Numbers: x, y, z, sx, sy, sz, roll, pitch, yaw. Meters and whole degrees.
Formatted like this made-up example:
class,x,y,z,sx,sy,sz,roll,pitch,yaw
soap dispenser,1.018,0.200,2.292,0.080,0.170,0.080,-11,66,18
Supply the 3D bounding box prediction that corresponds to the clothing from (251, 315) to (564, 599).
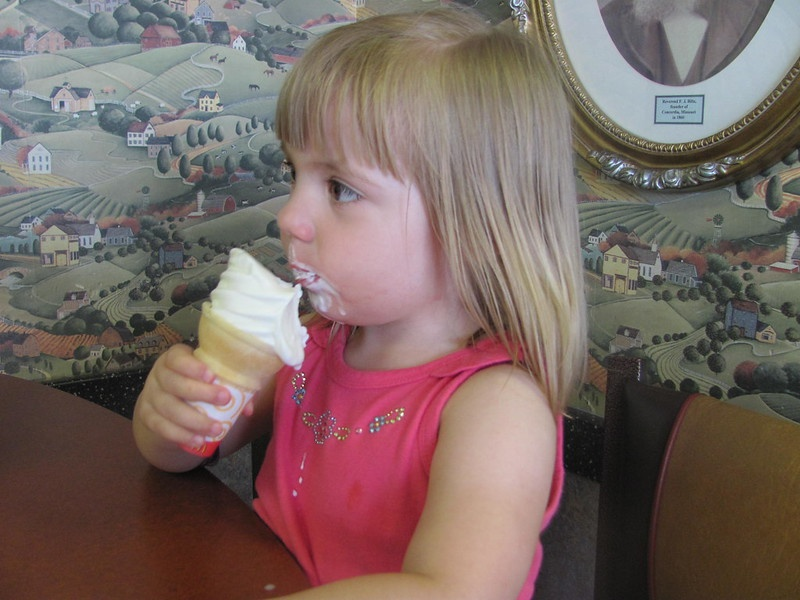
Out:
class,x,y,z,sx,sy,sz,roll,pitch,yaw
clothing,0.014,0.235,0.867,0.268,0.428,0.479,5,2,-33
